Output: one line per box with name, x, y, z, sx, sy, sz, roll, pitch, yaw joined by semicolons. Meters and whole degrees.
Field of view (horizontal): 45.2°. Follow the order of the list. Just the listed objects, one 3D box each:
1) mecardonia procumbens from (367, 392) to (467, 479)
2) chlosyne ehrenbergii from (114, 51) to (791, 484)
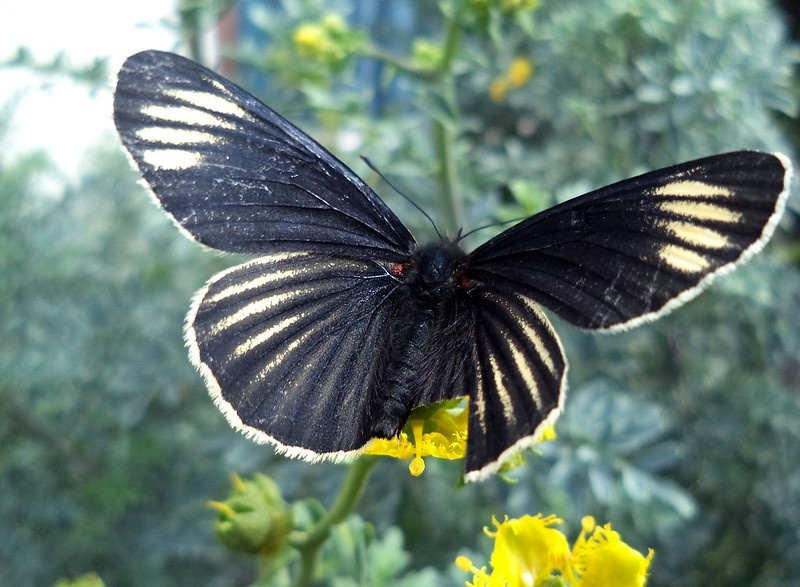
mecardonia procumbens;0.023;0.171;1.157;0.116;0.104;0.070;15;10;3
chlosyne ehrenbergii;0.015;-0.021;1.167;0.763;0.473;0.177;15;10;8
